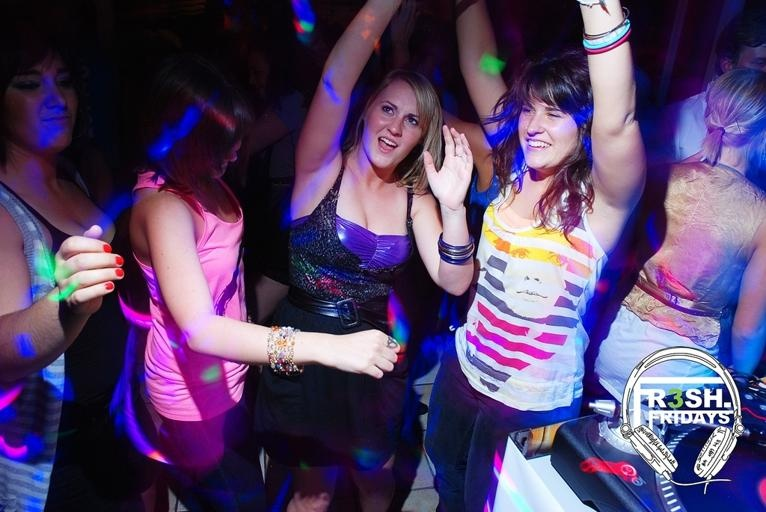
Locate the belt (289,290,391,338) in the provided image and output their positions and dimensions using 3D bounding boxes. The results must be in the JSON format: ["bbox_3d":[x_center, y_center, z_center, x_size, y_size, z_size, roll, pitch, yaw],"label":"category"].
[{"bbox_3d":[-0.240,0.346,2.743,0.368,0.135,0.279,16,-10,3],"label":"belt"}]
